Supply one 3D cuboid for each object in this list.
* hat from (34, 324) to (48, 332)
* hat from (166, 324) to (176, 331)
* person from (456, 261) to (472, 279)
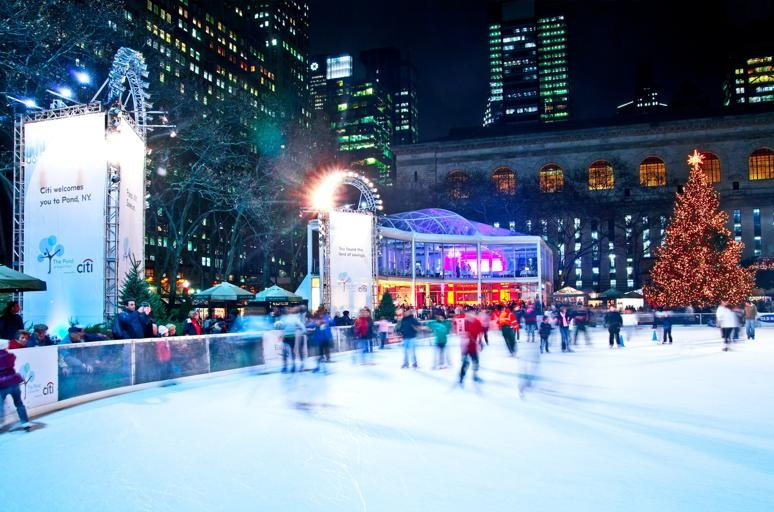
[{"bbox_3d":[-9.936,2.058,19.178,0.431,0.154,0.438,2,-2,-3],"label":"hat"},{"bbox_3d":[-7.509,2.536,23.260,0.317,0.323,0.269,-7,7,-6],"label":"hat"},{"bbox_3d":[7.085,1.342,62.755,1.388,1.447,0.772,2,-14,-3],"label":"person"}]
